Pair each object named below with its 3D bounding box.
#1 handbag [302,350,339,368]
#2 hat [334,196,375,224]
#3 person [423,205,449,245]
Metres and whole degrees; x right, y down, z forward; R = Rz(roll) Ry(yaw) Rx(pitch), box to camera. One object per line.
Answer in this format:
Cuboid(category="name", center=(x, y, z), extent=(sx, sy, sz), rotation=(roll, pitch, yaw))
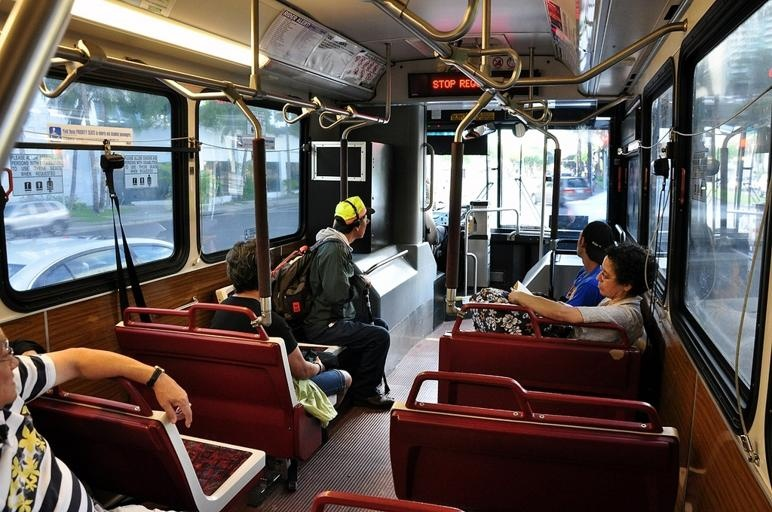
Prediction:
Cuboid(category="handbag", center=(-0.598, 0.948, 4.633), extent=(0.237, 0.077, 0.245), rotation=(8, 6, 42))
Cuboid(category="hat", center=(-0.368, -0.480, 5.547), extent=(0.435, 0.219, 0.284), rotation=(-26, 29, -32))
Cuboid(category="person", center=(0.953, -0.514, 9.558), extent=(0.335, 0.752, 1.398), rotation=(0, 9, 9))
